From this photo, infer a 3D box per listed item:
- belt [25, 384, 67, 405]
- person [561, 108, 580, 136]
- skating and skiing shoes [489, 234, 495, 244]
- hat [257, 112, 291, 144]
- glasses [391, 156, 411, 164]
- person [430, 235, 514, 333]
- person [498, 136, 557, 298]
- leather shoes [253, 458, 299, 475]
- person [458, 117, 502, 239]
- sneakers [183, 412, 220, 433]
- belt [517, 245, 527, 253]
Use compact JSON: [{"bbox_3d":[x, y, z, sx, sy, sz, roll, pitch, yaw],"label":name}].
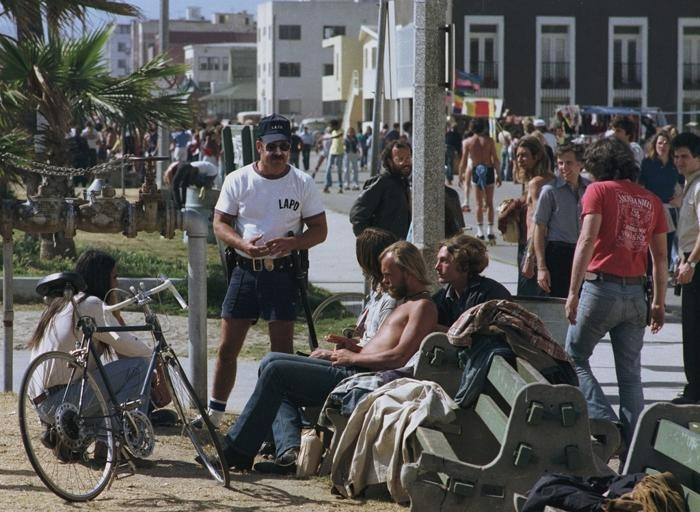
[{"bbox_3d":[-4.067,1.804,25.006,0.334,0.090,0.248,-35,11,-12],"label":"belt"},{"bbox_3d":[6.144,-3.718,52.907,0.183,0.809,0.743,7,5,35],"label":"person"},{"bbox_3d":[2.630,-0.300,34.853,0.050,0.191,0.079,-4,16,16],"label":"skating and skiing shoes"},{"bbox_3d":[-1.067,-1.706,25.834,0.297,0.295,0.465,1,4,-14],"label":"hat"},{"bbox_3d":[0.753,-1.354,27.429,0.263,0.114,0.062,2,4,-1],"label":"glasses"},{"bbox_3d":[1.533,0.304,25.477,0.785,1.322,1.244,-7,5,-42],"label":"person"},{"bbox_3d":[2.545,-0.415,27.757,0.750,2.516,0.770,-1,7,-38],"label":"person"},{"bbox_3d":[-1.010,2.787,25.316,0.584,0.266,0.221,6,-3,5],"label":"leather shoes"},{"bbox_3d":[2.543,-1.397,36.406,0.708,2.494,0.655,-3,-1,-7],"label":"person"},{"bbox_3d":[-2.016,2.196,25.246,0.465,0.224,0.167,12,0,3],"label":"sneakers"},{"bbox_3d":[2.563,-0.095,28.149,0.087,0.178,0.089,0,1,-32],"label":"belt"}]
